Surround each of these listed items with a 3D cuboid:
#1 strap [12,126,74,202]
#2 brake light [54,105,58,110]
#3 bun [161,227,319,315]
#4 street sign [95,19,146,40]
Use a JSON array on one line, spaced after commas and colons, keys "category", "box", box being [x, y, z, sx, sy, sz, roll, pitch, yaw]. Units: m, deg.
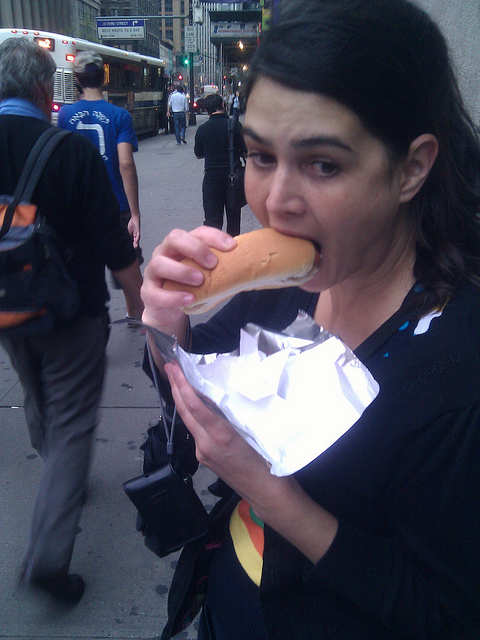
[{"category": "strap", "box": [-0.960, -0.766, 2.421, 0.185, 0.386, 0.250, -1, 21, 0]}, {"category": "brake light", "box": [-5.127, -5.926, 13.946, 0.086, 0.112, 0.024, 5, -6, 3]}, {"category": "bun", "box": [-0.016, -0.150, 1.341, 0.309, 0.240, 0.350, -7, 23, -27]}, {"category": "street sign", "box": [-9.017, -22.032, 37.960, 2.624, 1.502, 0.404, 12, 46, 13]}]
